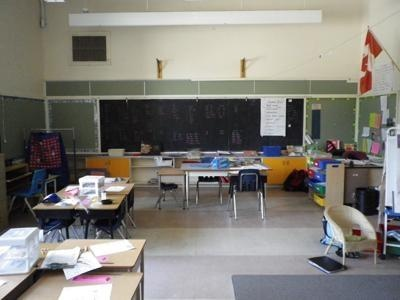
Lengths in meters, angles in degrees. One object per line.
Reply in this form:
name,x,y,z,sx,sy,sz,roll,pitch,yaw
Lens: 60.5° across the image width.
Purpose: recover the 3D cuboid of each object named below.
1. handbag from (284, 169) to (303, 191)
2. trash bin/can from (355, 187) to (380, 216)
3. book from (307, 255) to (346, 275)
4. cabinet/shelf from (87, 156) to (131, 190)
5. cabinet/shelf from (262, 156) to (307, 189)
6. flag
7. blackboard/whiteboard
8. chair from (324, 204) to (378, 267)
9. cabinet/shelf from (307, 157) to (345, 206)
handbag,2.351,0.746,8.585,0.432,0.499,0.166,26,0,39
trash bin/can,3.348,1.056,7.083,0.470,0.737,0.494,0,-2,-1
book,1.877,1.659,5.036,0.442,0.067,0.429,-5,12,-24
cabinet/shelf,-1.944,0.456,7.319,0.590,0.595,0.214,0,1,-2
cabinet/shelf,2.192,0.438,8.860,1.163,0.836,0.658,0,0,-1
flag,3.580,-1.851,7.184,0.399,1.310,0.334,0,10,3
blackboard/whiteboard,-0.491,-0.647,8.946,4.086,1.308,0.154,0,10,-1
chair,2.238,1.247,5.142,0.950,0.789,0.996,-1,-2,0
cabinet/shelf,2.738,0.700,7.390,0.464,1.060,0.940,-2,11,-8
